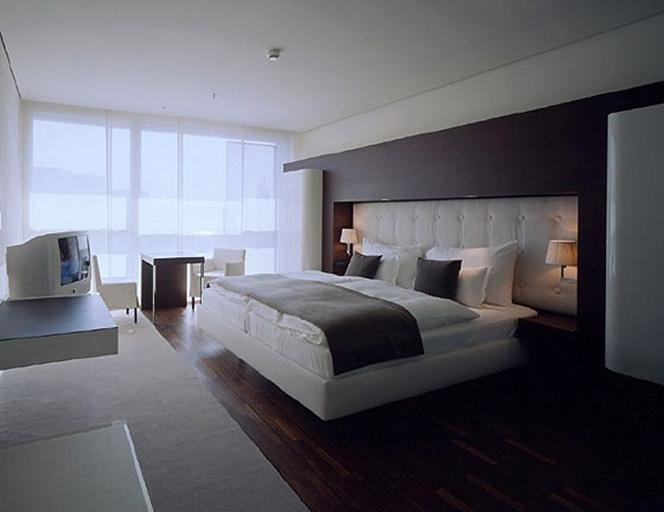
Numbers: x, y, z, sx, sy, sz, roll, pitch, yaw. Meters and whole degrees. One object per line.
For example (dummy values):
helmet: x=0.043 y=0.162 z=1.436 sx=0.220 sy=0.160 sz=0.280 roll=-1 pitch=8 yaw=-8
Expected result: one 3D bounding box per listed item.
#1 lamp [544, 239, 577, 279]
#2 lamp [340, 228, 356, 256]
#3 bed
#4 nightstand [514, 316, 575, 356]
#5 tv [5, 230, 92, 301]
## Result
lamp: x=1.766 y=0.012 z=3.567 sx=0.240 sy=0.341 sz=0.306 roll=0 pitch=0 yaw=-27
lamp: x=0.269 y=-0.192 z=6.055 sx=0.272 sy=0.458 sz=0.290 roll=0 pitch=2 yaw=9
bed: x=0.572 y=0.363 z=3.922 sx=2.075 sy=1.194 sz=2.328 roll=-2 pitch=6 yaw=-29
nightstand: x=1.724 y=0.618 z=3.540 sx=0.270 sy=0.208 sz=0.382 roll=-4 pitch=7 yaw=-19
tv: x=-1.801 y=0.064 z=3.023 sx=0.465 sy=0.507 sz=0.488 roll=1 pitch=1 yaw=10
